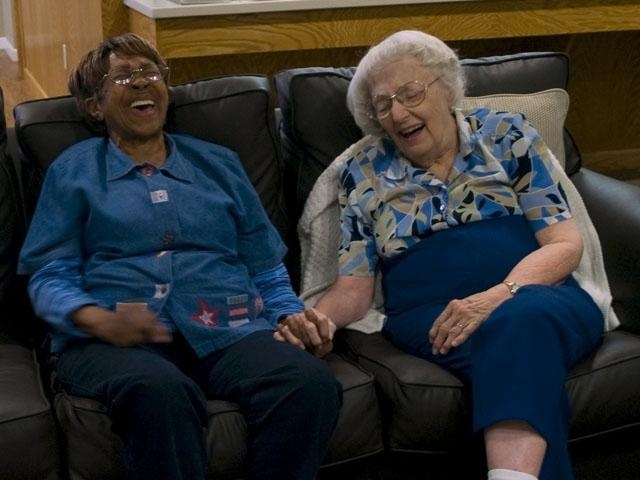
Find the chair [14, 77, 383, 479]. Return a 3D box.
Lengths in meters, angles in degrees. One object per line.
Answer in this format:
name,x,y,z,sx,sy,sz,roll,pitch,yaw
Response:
chair,-0.316,0.057,1.832,1.071,1.123,1.186,-9,21,-21

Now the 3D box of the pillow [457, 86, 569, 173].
pillow,0.803,-0.373,2.111,0.325,0.344,0.099,-4,1,-6

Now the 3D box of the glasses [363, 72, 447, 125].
glasses,0.286,-0.472,1.811,0.250,0.071,0.233,-29,16,-35
